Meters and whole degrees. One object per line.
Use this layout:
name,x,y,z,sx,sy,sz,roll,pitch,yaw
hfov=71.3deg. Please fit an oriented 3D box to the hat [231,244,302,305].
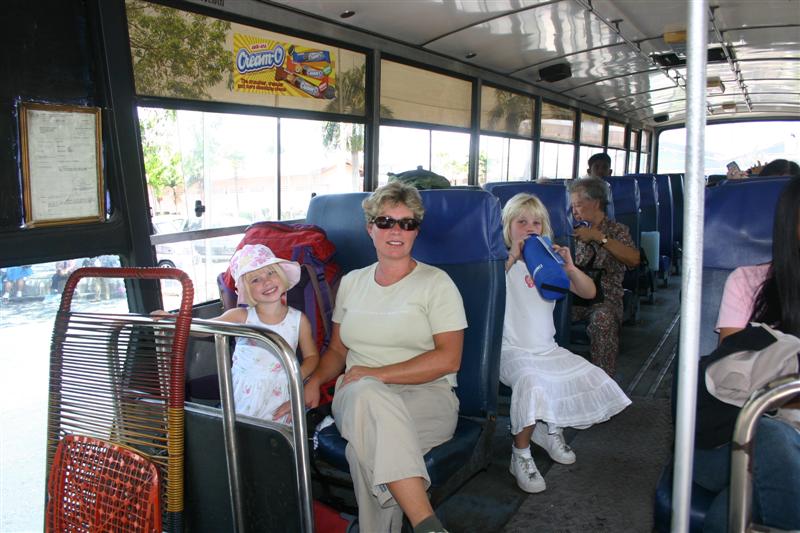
hat,-0.779,0.056,3.261,0.312,0.170,0.413,-28,-23,-9

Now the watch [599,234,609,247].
watch,1.818,-0.229,4.986,0.073,0.094,0.036,-7,-16,37

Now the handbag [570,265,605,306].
handbag,1.436,0.158,4.314,0.290,0.364,0.193,5,23,19

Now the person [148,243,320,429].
person,-0.662,0.366,3.430,0.839,1.135,1.010,2,0,14
